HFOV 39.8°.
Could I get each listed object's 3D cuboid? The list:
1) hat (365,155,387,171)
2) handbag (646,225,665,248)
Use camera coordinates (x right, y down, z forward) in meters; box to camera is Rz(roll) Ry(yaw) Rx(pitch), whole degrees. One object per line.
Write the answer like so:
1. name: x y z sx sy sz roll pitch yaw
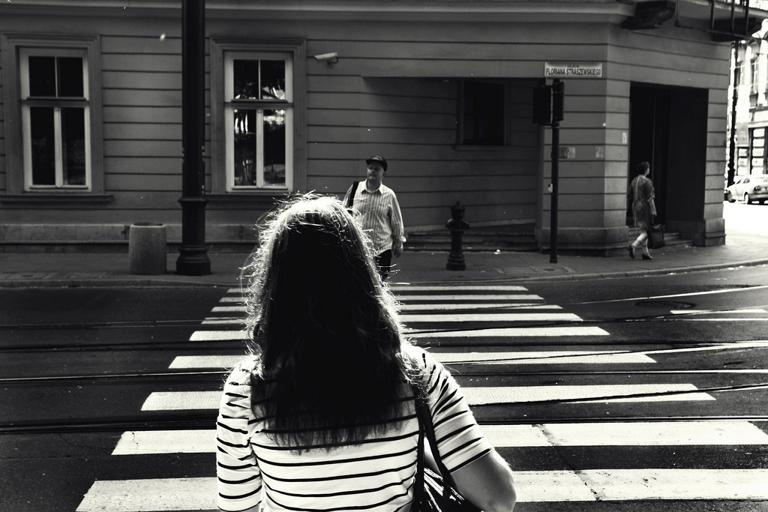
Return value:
1. hat: -0.114 -1.629 18.552 0.294 0.261 0.377 -2 15 -6
2. handbag: 6.552 -0.477 25.593 0.192 0.494 0.502 6 11 44
